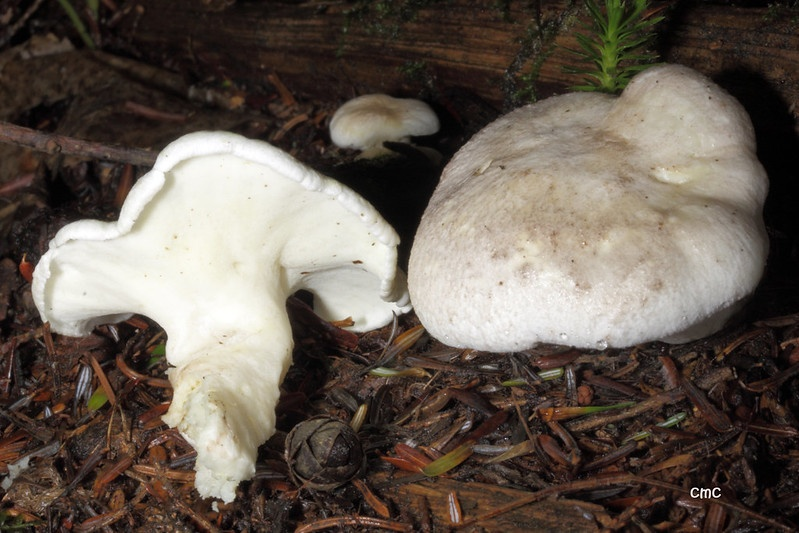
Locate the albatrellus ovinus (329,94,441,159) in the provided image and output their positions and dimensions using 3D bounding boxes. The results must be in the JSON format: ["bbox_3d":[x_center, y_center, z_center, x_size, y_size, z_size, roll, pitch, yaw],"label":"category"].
[{"bbox_3d":[-0.112,-1.140,6.545,0.796,0.307,0.631,-2,31,-1],"label":"albatrellus ovinus"}]
